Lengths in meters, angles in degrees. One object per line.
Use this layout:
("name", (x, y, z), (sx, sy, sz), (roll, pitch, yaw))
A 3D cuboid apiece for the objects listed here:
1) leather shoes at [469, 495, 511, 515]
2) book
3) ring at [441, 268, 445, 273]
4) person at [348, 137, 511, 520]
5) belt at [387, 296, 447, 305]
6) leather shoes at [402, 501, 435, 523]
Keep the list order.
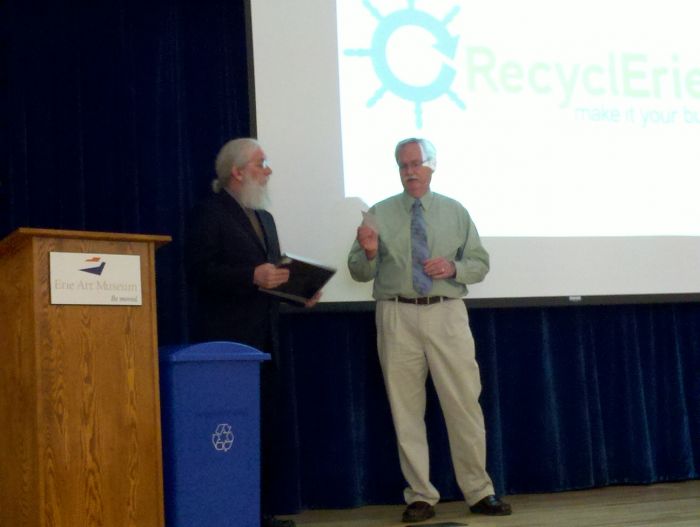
("leather shoes", (0.721, 1.234, 3.986), (0.190, 0.096, 0.098), (-8, -8, 31))
("book", (-0.241, 0.072, 3.615), (0.294, 0.210, 0.289), (0, -1, -30))
("ring", (0.467, 0.038, 3.877), (0.007, 0.021, 0.035), (-2, -1, 41))
("person", (0.392, 0.323, 4.023), (0.743, 1.965, 0.353), (-1, -1, -12))
("belt", (0.354, 0.193, 3.979), (0.296, 0.045, 0.058), (-1, -1, 3))
("leather shoes", (0.335, 1.266, 3.911), (0.152, 0.079, 0.078), (15, -18, -40))
